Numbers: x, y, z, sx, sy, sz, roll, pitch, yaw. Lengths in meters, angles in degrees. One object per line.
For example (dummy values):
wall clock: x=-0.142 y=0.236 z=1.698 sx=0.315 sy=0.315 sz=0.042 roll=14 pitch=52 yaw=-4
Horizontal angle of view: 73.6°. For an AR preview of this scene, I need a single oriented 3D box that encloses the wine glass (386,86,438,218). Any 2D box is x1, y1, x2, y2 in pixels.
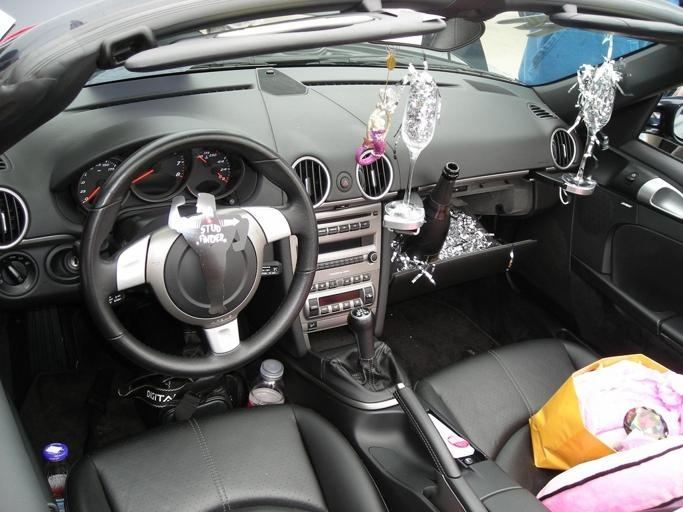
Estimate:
wine glass: x=0.237 y=-0.349 z=1.506 sx=0.136 sy=0.434 sz=0.399 roll=8 pitch=42 yaw=13
